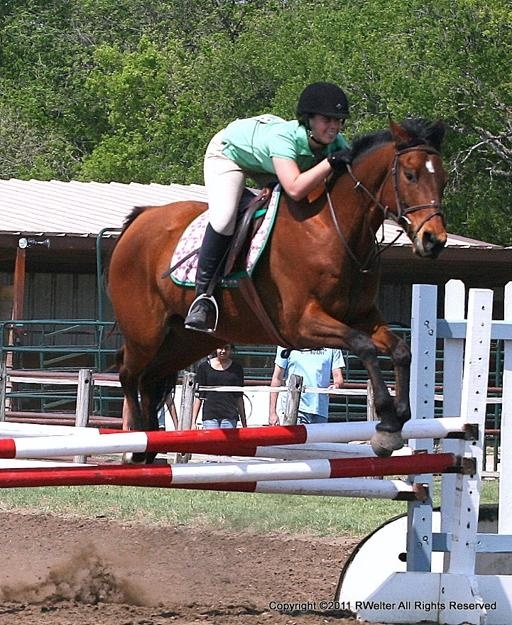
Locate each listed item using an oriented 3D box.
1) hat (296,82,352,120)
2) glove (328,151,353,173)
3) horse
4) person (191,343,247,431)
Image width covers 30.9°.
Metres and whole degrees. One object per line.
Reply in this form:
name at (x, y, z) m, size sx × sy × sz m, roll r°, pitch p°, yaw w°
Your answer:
hat at (0.328, -1.048, 4.614) m, size 0.201 × 0.119 × 0.260 m, roll -3°, pitch 5°, yaw -38°
glove at (0.419, -0.753, 4.552) m, size 0.145 × 0.105 × 0.052 m, roll 3°, pitch -5°, yaw -43°
horse at (0.037, -0.017, 5.151) m, size 0.861 × 1.566 × 2.701 m, roll 4°, pitch -4°, yaw -39°
person at (-0.349, 0.863, 9.090) m, size 0.545 × 1.353 × 0.255 m, roll 3°, pitch 18°, yaw 0°
